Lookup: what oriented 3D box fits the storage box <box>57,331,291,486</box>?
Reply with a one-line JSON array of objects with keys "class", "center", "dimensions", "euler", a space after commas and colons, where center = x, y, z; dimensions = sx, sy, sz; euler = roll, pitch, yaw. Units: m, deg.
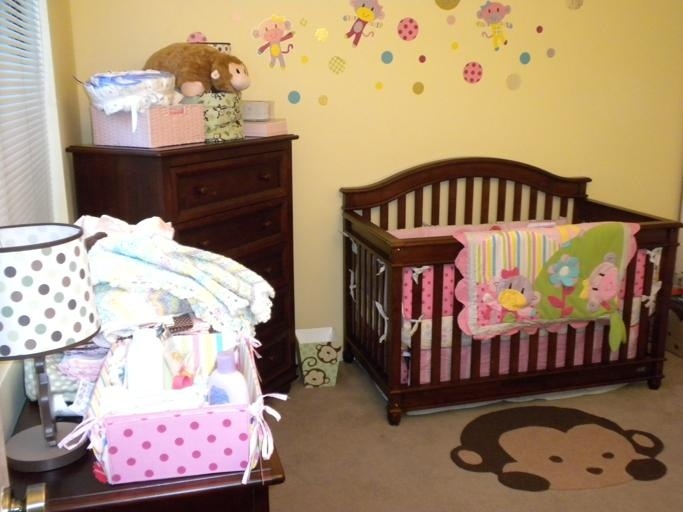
[{"class": "storage box", "center": [-0.390, 0.331, 1.226], "dimensions": [0.404, 0.171, 0.401], "euler": [1, 21, -6]}]

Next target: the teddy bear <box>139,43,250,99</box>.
[{"class": "teddy bear", "center": [-0.646, -0.849, 2.571], "dimensions": [0.477, 0.239, 0.398], "euler": [12, 23, 16]}]

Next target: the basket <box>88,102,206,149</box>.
[{"class": "basket", "center": [-0.827, -0.529, 2.331], "dimensions": [0.276, 0.127, 0.285], "euler": [10, 16, 34]}]

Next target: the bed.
[{"class": "bed", "center": [0.812, 0.101, 3.028], "dimensions": [1.555, 1.149, 0.823], "euler": [-4, 18, -10]}]
